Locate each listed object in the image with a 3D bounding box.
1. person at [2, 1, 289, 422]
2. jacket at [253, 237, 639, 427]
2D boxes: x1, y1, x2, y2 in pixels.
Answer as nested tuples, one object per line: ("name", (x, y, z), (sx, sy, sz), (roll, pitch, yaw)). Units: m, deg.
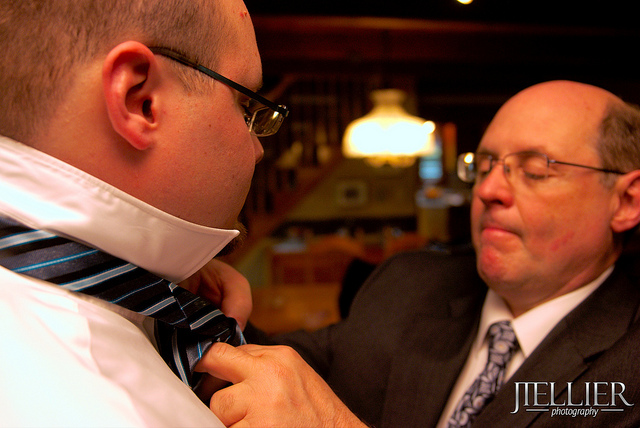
("person", (-0.400, -0.016, 1.722), (0.686, 0.952, 1.141), (-3, 9, -25))
("jacket", (0.416, 0.356, 1.732), (0.777, 0.190, 0.539), (-2, 27, -34))
